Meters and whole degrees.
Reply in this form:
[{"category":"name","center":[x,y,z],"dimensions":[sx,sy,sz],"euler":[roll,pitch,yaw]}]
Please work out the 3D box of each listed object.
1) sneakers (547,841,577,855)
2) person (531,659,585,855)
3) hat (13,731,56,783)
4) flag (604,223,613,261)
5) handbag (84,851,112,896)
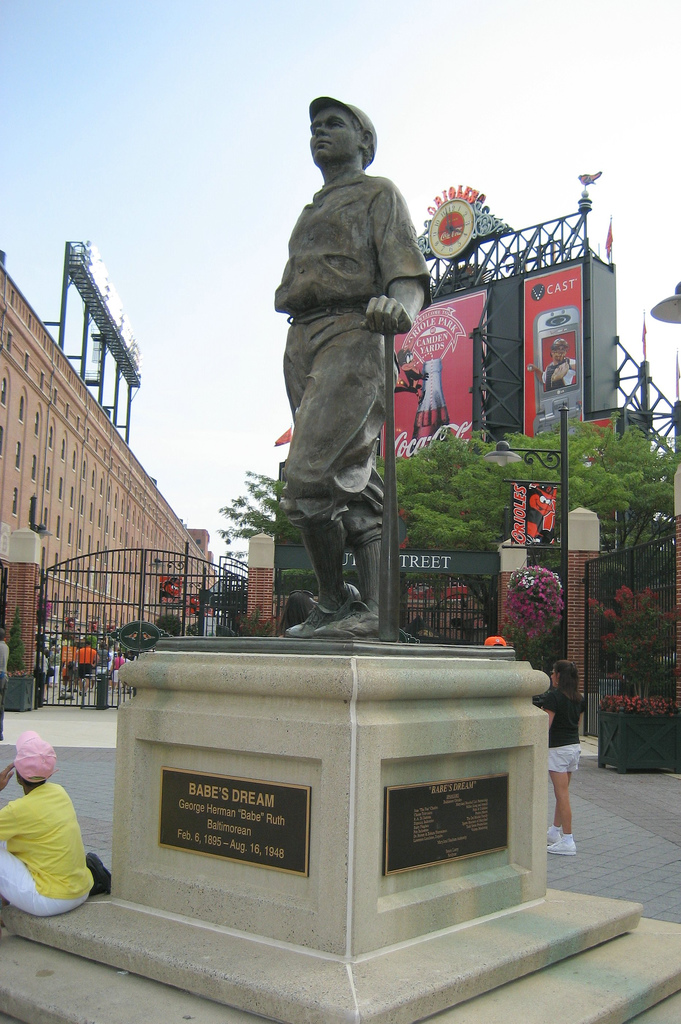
[{"category":"sneakers","center":[1.688,2.566,7.054],"dimensions":[0.086,0.093,0.204],"euler":[4,-4,-38]},{"category":"person","center":[1.763,1.956,7.517],"dimensions":[0.366,1.520,1.665],"euler":[3,-12,15]},{"category":"hat","center":[-1.358,1.053,4.046],"dimensions":[0.163,0.123,0.242],"euler":[-6,39,-26]},{"category":"flag","center":[15.901,-15.959,54.872],"dimensions":[0.208,2.592,0.837],"euler":[6,-12,3]},{"category":"handbag","center":[-1.045,1.575,4.017],"dimensions":[0.086,0.102,0.260],"euler":[-2,-3,2]}]
